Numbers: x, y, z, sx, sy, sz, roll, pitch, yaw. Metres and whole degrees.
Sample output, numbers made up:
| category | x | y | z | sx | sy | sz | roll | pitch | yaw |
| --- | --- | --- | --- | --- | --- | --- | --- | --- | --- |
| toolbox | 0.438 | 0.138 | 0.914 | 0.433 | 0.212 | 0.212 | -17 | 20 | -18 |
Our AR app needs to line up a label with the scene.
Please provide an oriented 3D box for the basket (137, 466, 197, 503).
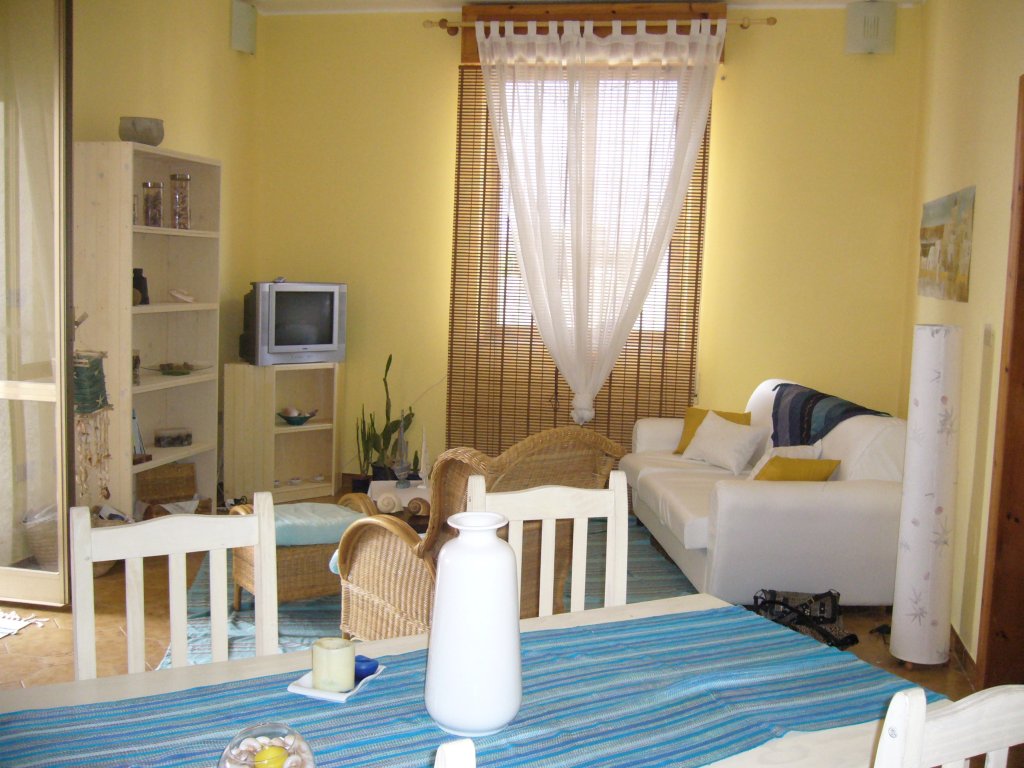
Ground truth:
| category | x | y | z | sx | sy | sz | roll | pitch | yaw |
| --- | --- | --- | --- | --- | --- | --- | --- | --- | --- |
| basket | -2.091 | 0.608 | 4.945 | 0.384 | 0.235 | 0.203 | -1 | -4 | -41 |

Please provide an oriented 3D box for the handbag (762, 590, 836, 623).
| category | x | y | z | sx | sy | sz | roll | pitch | yaw |
| --- | --- | --- | --- | --- | --- | --- | --- | --- | --- |
| handbag | 1.238 | 0.932 | 3.520 | 0.247 | 0.101 | 0.171 | 2 | -2 | -17 |

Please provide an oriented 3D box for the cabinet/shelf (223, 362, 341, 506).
| category | x | y | z | sx | sy | sz | roll | pitch | yaw |
| --- | --- | --- | --- | --- | --- | --- | --- | --- | --- |
| cabinet/shelf | -1.557 | 0.365 | 5.723 | 0.356 | 0.965 | 0.612 | 8 | 6 | 39 |

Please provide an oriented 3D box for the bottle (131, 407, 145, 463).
| category | x | y | z | sx | sy | sz | roll | pitch | yaw |
| --- | --- | --- | --- | --- | --- | --- | --- | --- | --- |
| bottle | -2.178 | 0.292 | 4.759 | 0.059 | 0.285 | 0.430 | -2 | 3 | -25 |

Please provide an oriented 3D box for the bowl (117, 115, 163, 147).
| category | x | y | z | sx | sy | sz | roll | pitch | yaw |
| --- | --- | --- | --- | --- | --- | --- | --- | --- | --- |
| bowl | -2.028 | -1.371 | 4.485 | 0.204 | 0.133 | 0.221 | 2 | 9 | 0 |

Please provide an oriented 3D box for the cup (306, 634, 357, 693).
| category | x | y | z | sx | sy | sz | roll | pitch | yaw |
| --- | --- | --- | --- | --- | --- | --- | --- | --- | --- |
| cup | -0.350 | 0.550 | 1.607 | 0.104 | 0.088 | 0.081 | 1 | -3 | 20 |

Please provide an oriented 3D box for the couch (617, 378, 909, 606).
| category | x | y | z | sx | sy | sz | roll | pitch | yaw |
| --- | --- | --- | --- | --- | --- | --- | --- | --- | --- |
| couch | 1.303 | 0.642 | 4.102 | 0.914 | 0.818 | 1.487 | 2 | 2 | -3 |

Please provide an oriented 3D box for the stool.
| category | x | y | z | sx | sy | sz | roll | pitch | yaw |
| --- | --- | --- | --- | --- | --- | --- | --- | --- | --- |
| stool | -1.038 | 0.792 | 4.031 | 0.812 | 0.609 | 0.606 | -2 | 9 | -23 |

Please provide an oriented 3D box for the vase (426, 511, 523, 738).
| category | x | y | z | sx | sy | sz | roll | pitch | yaw |
| --- | --- | --- | --- | --- | --- | --- | --- | --- | --- |
| vase | -0.075 | 0.448 | 1.501 | 0.158 | 0.385 | 0.089 | 1 | 4 | 23 |

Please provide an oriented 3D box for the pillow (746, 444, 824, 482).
| category | x | y | z | sx | sy | sz | roll | pitch | yaw |
| --- | --- | --- | --- | --- | --- | --- | --- | --- | --- |
| pillow | 1.404 | 0.418 | 4.021 | 0.257 | 0.081 | 0.267 | -2 | 8 | 23 |

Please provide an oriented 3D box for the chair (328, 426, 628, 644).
| category | x | y | z | sx | sy | sz | roll | pitch | yaw |
| --- | --- | --- | --- | --- | --- | --- | --- | --- | --- |
| chair | -0.131 | 0.643 | 3.356 | 0.923 | 1.211 | 0.968 | -2 | 8 | -38 |

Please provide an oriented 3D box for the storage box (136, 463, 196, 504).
| category | x | y | z | sx | sy | sz | roll | pitch | yaw |
| --- | --- | --- | --- | --- | --- | --- | --- | --- | --- |
| storage box | -2.095 | 0.608 | 4.942 | 0.385 | 0.205 | 0.243 | 0 | 3 | -35 |

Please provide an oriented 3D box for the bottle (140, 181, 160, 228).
| category | x | y | z | sx | sy | sz | roll | pitch | yaw |
| --- | --- | --- | --- | --- | --- | --- | --- | --- | --- |
| bottle | -2.103 | -1.041 | 4.749 | 0.115 | 0.304 | 0.438 | -2 | 3 | -23 |
